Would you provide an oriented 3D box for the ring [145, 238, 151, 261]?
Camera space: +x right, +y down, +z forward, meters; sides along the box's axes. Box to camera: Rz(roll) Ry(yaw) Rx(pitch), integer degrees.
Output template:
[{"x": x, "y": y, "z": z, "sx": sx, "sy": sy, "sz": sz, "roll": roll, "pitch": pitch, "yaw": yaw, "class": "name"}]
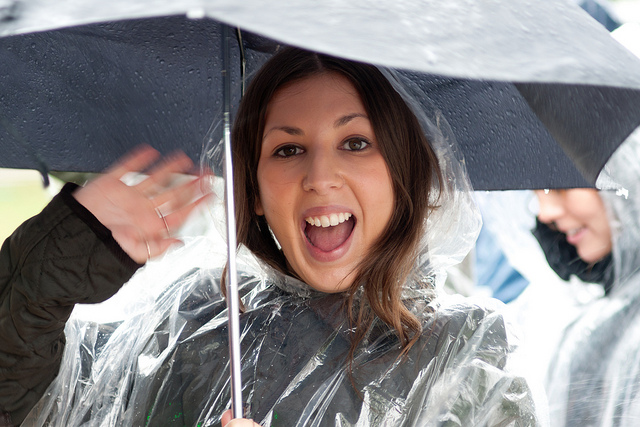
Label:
[{"x": -0.471, "y": 0.099, "z": 1.847, "sx": 0.008, "sy": 0.067, "sz": 0.009, "roll": -18, "pitch": -5, "yaw": -2, "class": "ring"}]
